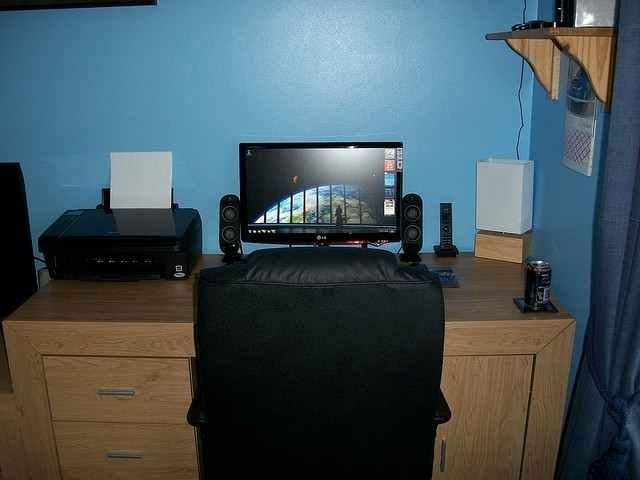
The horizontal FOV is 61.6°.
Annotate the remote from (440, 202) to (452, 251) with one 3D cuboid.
[{"bbox_3d":[0.608,-0.070,2.588,0.054,0.215,0.051,-1,9,3],"label":"remote"}]

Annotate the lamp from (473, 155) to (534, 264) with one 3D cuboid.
[{"bbox_3d":[0.870,-0.140,2.534,0.258,0.472,0.159,1,10,20],"label":"lamp"}]

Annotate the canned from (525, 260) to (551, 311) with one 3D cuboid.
[{"bbox_3d":[0.845,0.167,2.087,0.093,0.178,0.140,2,10,21],"label":"canned"}]
